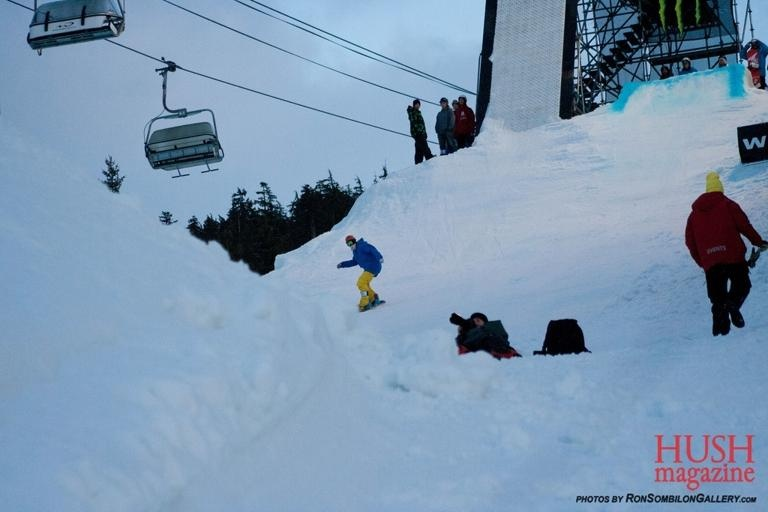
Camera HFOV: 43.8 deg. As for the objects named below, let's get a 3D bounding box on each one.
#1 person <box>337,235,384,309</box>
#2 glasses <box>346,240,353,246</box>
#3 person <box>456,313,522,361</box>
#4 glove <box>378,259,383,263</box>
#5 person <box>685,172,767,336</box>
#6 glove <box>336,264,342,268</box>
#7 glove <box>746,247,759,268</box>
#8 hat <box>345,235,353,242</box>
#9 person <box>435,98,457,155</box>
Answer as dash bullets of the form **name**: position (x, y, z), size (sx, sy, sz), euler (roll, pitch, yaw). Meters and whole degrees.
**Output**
- **person**: position (-0.443, 0.347, 20.304), size (0.789, 1.548, 0.832), euler (-4, 7, -4)
- **glasses**: position (-0.718, -0.240, 20.128), size (0.137, 0.122, 0.101), euler (2, -9, -10)
- **person**: position (1.549, 1.255, 15.093), size (0.921, 0.591, 1.234), euler (-5, 7, -11)
- **glove**: position (-0.066, 0.137, 20.216), size (0.064, 0.074, 0.083), euler (-4, 20, 6)
- **person**: position (5.138, -0.016, 14.619), size (0.733, 2.411, 0.970), euler (-9, 9, -38)
- **glove**: position (-0.993, 0.248, 21.206), size (0.109, 0.146, 0.055), euler (-1, 45, 2)
- **glove**: position (5.958, 0.055, 15.439), size (0.121, 0.310, 0.173), euler (23, 10, 18)
- **hat**: position (-0.716, -0.329, 20.120), size (0.141, 0.129, 0.273), euler (-5, 7, -13)
- **person**: position (1.746, -3.554, 26.823), size (0.540, 1.536, 1.759), euler (-3, 7, 5)
